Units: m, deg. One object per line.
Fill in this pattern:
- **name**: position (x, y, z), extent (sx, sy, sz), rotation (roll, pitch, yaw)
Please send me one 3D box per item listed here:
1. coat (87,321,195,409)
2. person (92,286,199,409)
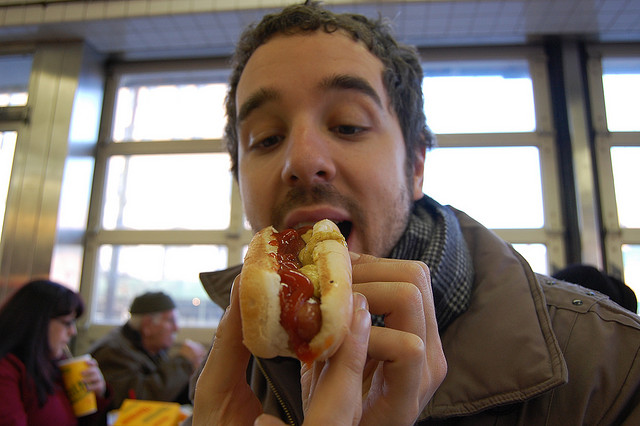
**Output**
- **coat**: position (-1.595, 1.370, 4.841), extent (0.718, 0.837, 0.865), rotation (7, 9, 38)
- **person**: position (-1.703, 1.365, 5.147), extent (0.964, 1.552, 0.985), rotation (0, -17, -6)
